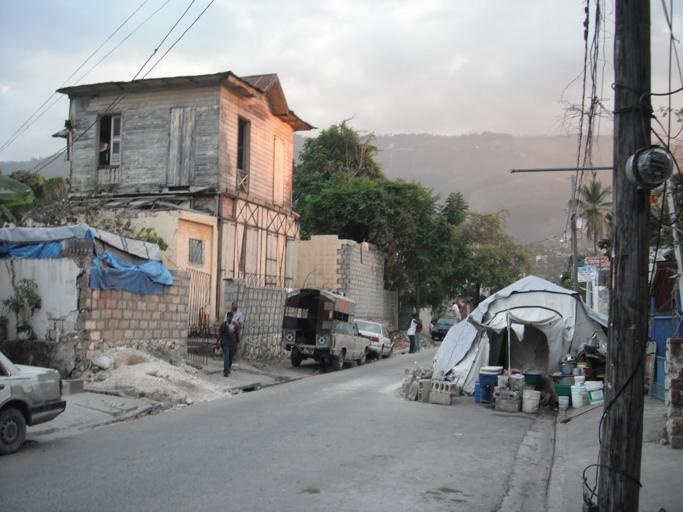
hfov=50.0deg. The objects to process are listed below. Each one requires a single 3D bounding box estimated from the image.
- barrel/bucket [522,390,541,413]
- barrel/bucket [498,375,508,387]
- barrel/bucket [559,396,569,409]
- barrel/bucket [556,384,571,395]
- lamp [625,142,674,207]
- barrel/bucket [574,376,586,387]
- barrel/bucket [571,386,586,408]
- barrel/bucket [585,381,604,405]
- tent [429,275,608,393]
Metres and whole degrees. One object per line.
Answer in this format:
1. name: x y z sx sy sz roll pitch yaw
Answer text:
1. barrel/bucket: 4.936 3.806 19.122 0.469 0.549 0.511 2 -4 0
2. barrel/bucket: 4.327 3.349 19.524 0.218 0.341 0.313 -2 -3 33
3. barrel/bucket: 6.002 3.936 19.594 0.271 0.328 0.287 1 -4 0
4. barrel/bucket: 6.025 3.649 19.854 0.449 0.315 0.306 -3 -7 28
5. lamp: 4.360 -1.253 10.366 0.623 0.607 0.273 -1 -5 15
6. barrel/bucket: 6.383 3.366 19.607 0.224 0.231 0.218 -1 -6 0
7. barrel/bucket: 6.244 3.789 19.529 0.482 0.527 0.447 0 -12 0
8. barrel/bucket: 6.638 3.624 19.303 0.497 0.745 0.508 -2 -2 0
9. tent: 5.664 2.508 23.141 4.883 3.473 2.475 1 -6 -6
